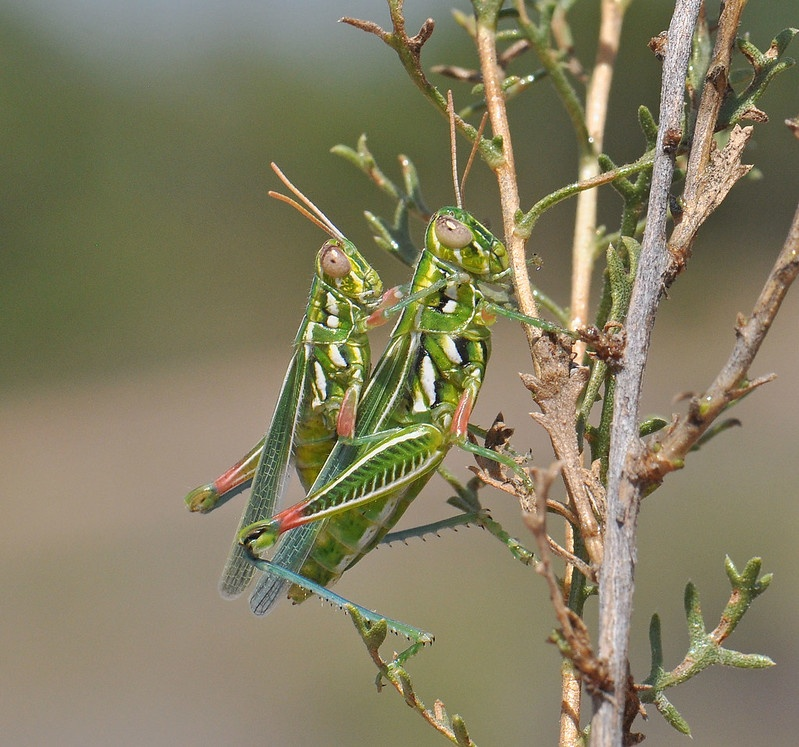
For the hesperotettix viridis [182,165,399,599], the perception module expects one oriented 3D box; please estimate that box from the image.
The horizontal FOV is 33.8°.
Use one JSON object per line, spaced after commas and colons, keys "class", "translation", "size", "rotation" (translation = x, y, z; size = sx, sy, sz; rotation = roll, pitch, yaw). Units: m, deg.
{"class": "hesperotettix viridis", "translation": [-0.135, 0.018, 2.507], "size": [0.358, 0.779, 0.385], "rotation": [15, 1, 16]}
